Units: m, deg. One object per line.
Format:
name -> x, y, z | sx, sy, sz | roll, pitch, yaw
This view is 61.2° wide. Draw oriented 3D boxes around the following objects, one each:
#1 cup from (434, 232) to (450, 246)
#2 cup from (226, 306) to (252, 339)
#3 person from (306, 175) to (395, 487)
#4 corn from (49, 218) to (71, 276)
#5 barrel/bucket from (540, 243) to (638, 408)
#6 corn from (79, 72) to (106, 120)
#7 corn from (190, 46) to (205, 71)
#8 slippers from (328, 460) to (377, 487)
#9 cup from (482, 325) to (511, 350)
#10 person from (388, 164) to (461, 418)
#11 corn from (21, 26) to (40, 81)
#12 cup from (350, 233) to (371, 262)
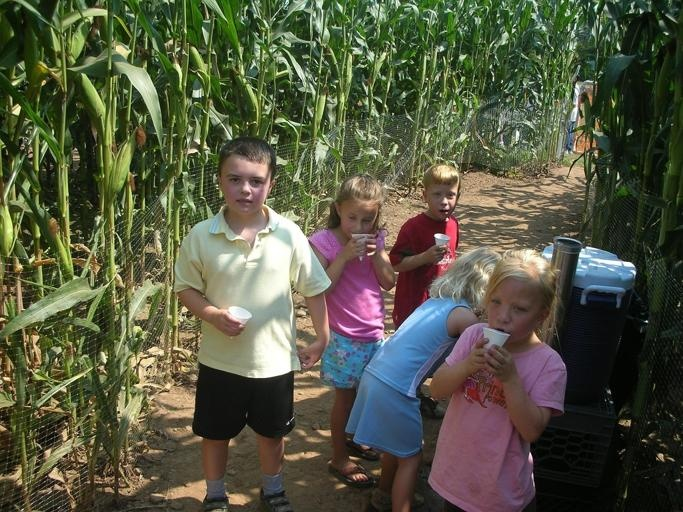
cup -> 0.586, -0.114, 3.380 | 0.070, 0.060, 0.074 | 3, 19, -1
cup -> -0.442, 0.293, 2.549 | 0.094, 0.079, 0.107 | 34, 22, 21
person -> 0.052, 0.383, 3.211 | 0.564, 1.551, 0.714 | 7, 14, -7
corn -> -1.228, -0.036, 2.510 | 0.062, 0.256, 0.030 | -14, 22, -27
barrel/bucket -> 1.197, 0.309, 2.908 | 0.386, 0.681, 0.444 | 10, 13, 31
corn -> -1.087, -0.694, 2.541 | 0.079, 0.171, 0.215 | 4, 3, -1
corn -> -0.870, -1.180, 3.535 | 0.065, 0.075, 0.223 | -15, -17, -8
slippers -> 0.056, 1.140, 3.130 | 0.213, 0.093, 0.112 | 13, 15, 23
cup -> 0.610, 0.316, 2.275 | 0.077, 0.062, 0.080 | 21, -3, 1
person -> 0.523, 0.034, 3.637 | 0.367, 1.154, 0.414 | 10, 10, 19
corn -> -1.261, -0.817, 2.321 | 0.019, 0.210, 0.044 | 13, 18, 22
cup -> 0.109, -0.062, 3.044 | 0.091, 0.159, 0.107 | 2, -3, -6
